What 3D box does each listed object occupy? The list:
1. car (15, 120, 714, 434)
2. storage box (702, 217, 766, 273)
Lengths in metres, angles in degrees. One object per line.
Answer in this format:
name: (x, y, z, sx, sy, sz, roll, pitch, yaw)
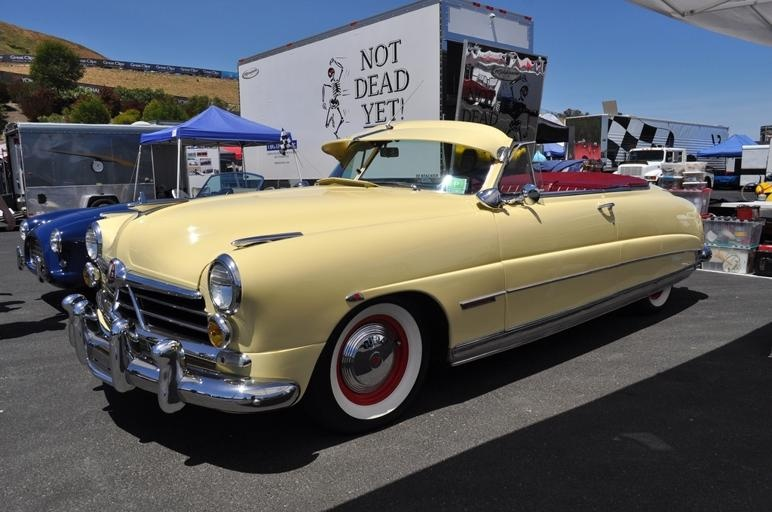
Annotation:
car: (0.471, 0.064, 4.087, 5.484, 1.818, 2.421, -5, 4, -37)
storage box: (5.459, -0.154, 7.148, 0.504, 0.792, 0.823, -3, 5, -39)
